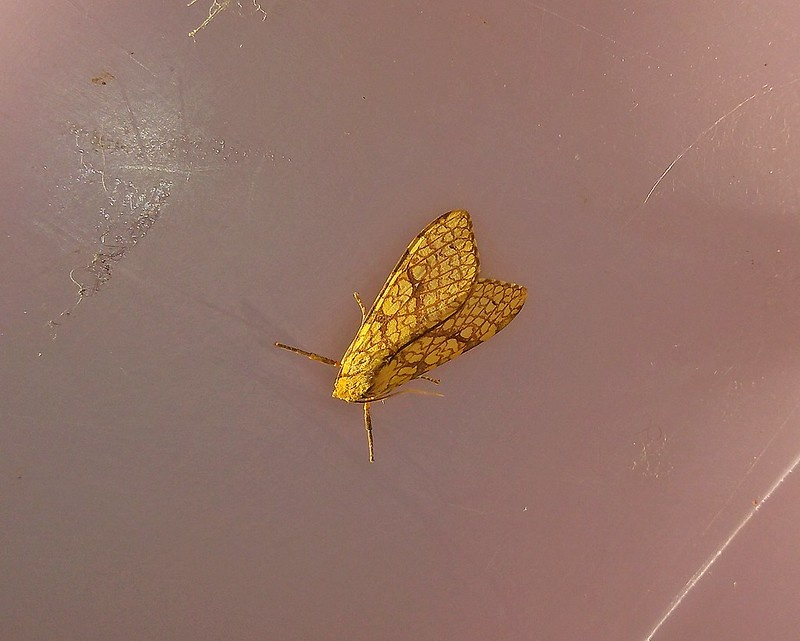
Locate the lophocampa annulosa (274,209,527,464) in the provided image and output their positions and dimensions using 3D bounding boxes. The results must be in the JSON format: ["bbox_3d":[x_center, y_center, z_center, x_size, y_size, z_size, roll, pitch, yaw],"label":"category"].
[{"bbox_3d":[0.031,0.025,3.101,0.612,0.147,0.435,-43,107,1],"label":"lophocampa annulosa"}]
